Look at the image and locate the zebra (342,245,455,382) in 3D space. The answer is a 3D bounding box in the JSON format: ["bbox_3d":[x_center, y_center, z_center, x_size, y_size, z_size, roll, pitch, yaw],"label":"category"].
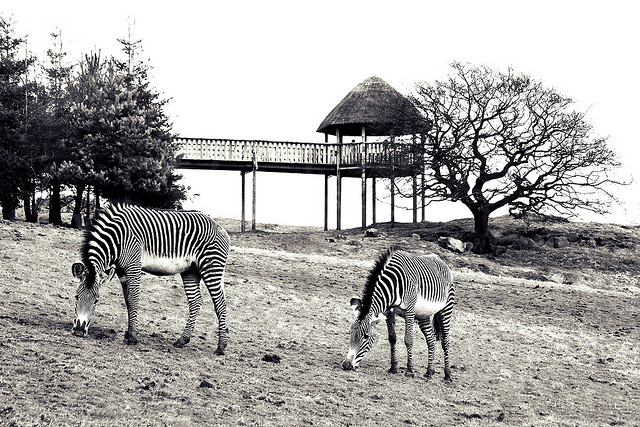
[{"bbox_3d":[2.394,2.852,24.233,4.425,3.895,1.285,3,0,-43],"label":"zebra"}]

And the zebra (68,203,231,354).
[{"bbox_3d":[-4.769,1.590,23.970,4.146,3.755,2.737,3,12,-18],"label":"zebra"}]
